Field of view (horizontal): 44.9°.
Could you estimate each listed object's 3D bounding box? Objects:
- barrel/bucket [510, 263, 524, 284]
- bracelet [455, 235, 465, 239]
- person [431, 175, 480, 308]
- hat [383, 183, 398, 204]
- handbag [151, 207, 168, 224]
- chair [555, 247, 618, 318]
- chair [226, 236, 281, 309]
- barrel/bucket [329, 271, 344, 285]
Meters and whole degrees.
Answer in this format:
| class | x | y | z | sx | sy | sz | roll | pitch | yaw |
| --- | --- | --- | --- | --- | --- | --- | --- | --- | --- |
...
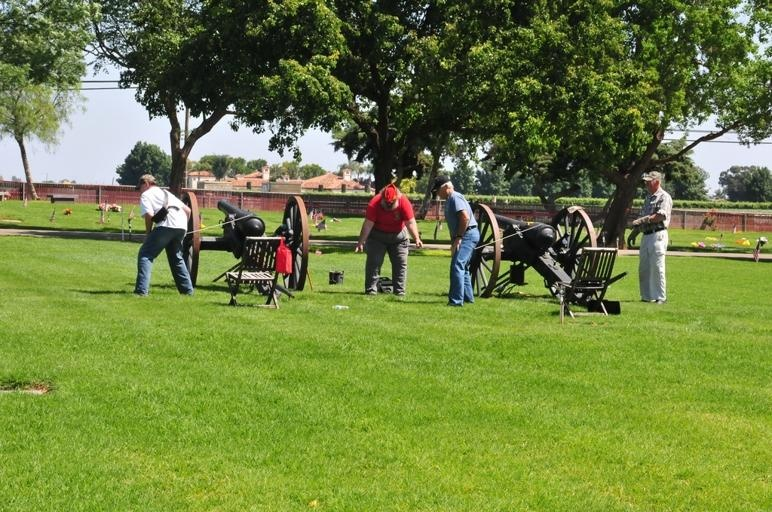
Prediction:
| class | x | y | z | sx | sy | sz | roll | pitch | yaw |
| --- | --- | --- | --- | --- | --- | --- | --- | --- | --- |
| barrel/bucket | 3.059 | 0.430 | 21.848 | 0.393 | 0.465 | 0.405 | -1 | 3 | 0 |
| bracelet | 1.511 | -0.377 | 19.288 | 0.100 | 0.073 | 0.110 | 7 | -12 | -23 |
| person | 1.442 | -0.312 | 19.574 | 0.941 | 2.698 | 0.721 | 3 | 3 | 4 |
| hat | 0.099 | -1.328 | 19.942 | 0.300 | 0.412 | 0.428 | 3 | 3 | -1 |
| handbag | -4.571 | -0.820 | 19.085 | 0.243 | 0.342 | 0.114 | 50 | 2 | 23 |
| chair | 4.122 | 0.419 | 19.592 | 1.092 | 1.794 | 1.605 | 1 | 2 | -12 |
| chair | -2.627 | 0.298 | 18.838 | 1.039 | 1.392 | 1.018 | 3 | 3 | -5 |
| barrel/bucket | -1.223 | 0.537 | 23.124 | 0.326 | 0.341 | 0.280 | 0 | 0 | 32 |
